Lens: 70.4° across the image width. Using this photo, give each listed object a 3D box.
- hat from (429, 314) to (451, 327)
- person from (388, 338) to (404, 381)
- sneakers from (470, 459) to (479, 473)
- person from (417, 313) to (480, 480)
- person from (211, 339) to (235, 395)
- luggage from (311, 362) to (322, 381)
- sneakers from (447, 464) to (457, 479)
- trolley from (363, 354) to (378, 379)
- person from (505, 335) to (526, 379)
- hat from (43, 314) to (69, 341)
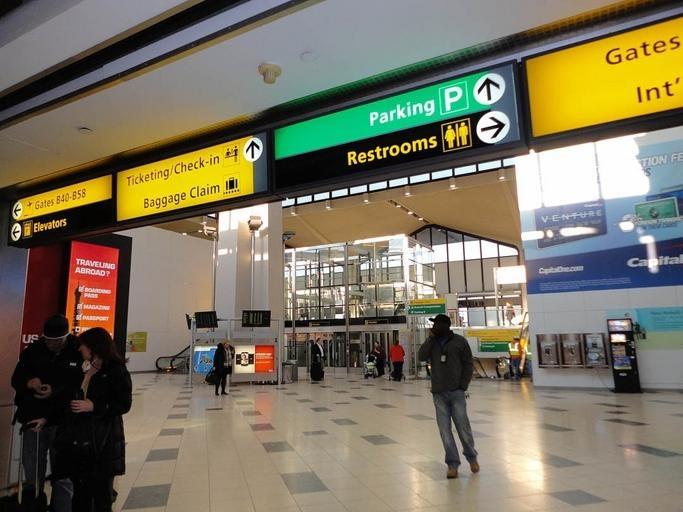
[{"bbox_3d":[1.068,0.681,5.247,0.224,0.116,0.158,3,-16,16],"label":"hat"},{"bbox_3d":[1.909,3.582,16.402,0.439,1.190,0.810,-4,-9,5],"label":"person"},{"bbox_3d":[1.385,2.168,5.033,0.096,0.132,0.215,-5,-9,12],"label":"sneakers"},{"bbox_3d":[1.155,1.440,5.193,0.545,1.641,0.545,-6,-9,14],"label":"person"},{"bbox_3d":[-3.016,2.848,12.357,0.450,1.274,1.284,-1,-9,-14],"label":"person"},{"bbox_3d":[-0.867,4.041,16.920,0.558,0.789,0.530,0,-7,-5],"label":"luggage"},{"bbox_3d":[1.114,2.170,4.892,0.117,0.098,0.149,-5,-9,9],"label":"sneakers"},{"bbox_3d":[1.089,4.219,18.528,0.491,0.810,0.809,1,-16,-1],"label":"trolley"},{"bbox_3d":[5.710,3.291,15.750,0.452,1.325,0.618,-3,-9,-4],"label":"person"},{"bbox_3d":[-2.297,0.570,3.913,0.157,0.174,0.207,1,5,-36],"label":"hat"}]
